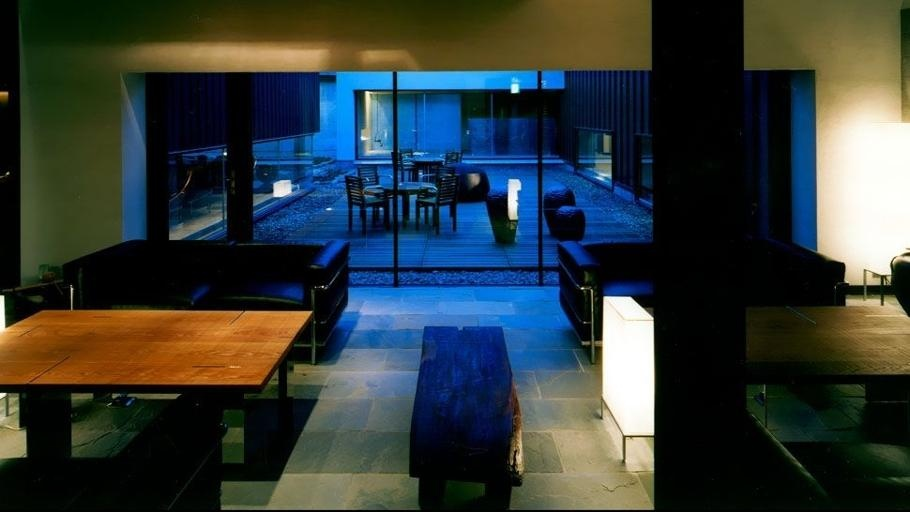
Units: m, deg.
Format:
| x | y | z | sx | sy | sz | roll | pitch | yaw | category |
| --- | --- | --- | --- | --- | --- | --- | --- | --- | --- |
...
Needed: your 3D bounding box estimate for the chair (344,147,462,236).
| x | y | z | sx | sy | sz | roll | pitch | yaw | category |
| --- | --- | --- | --- | --- | --- | --- | --- | --- | --- |
| -0.631 | -0.934 | 8.931 | 1.381 | 0.551 | 1.263 | 1 | 10 | 6 | chair |
